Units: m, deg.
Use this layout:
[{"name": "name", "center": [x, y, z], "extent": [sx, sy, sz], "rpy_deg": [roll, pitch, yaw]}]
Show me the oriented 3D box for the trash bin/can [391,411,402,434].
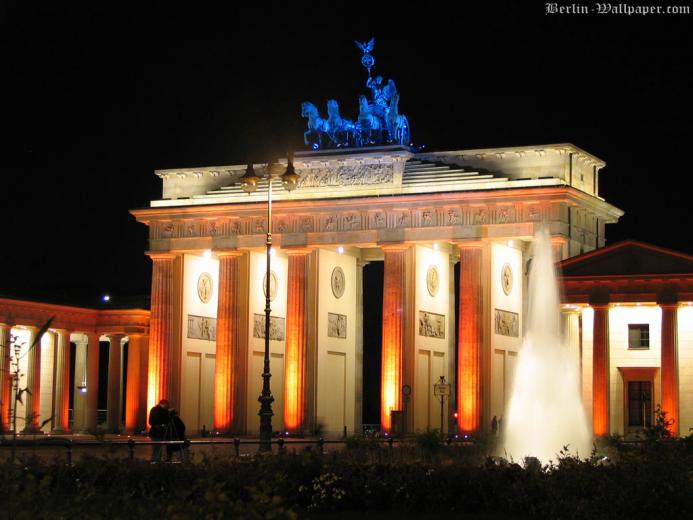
[{"name": "trash bin/can", "center": [2.500, 8.110, 64.525], "extent": [0.580, 1.106, 0.555], "rpy_deg": [0, -7, 3]}]
